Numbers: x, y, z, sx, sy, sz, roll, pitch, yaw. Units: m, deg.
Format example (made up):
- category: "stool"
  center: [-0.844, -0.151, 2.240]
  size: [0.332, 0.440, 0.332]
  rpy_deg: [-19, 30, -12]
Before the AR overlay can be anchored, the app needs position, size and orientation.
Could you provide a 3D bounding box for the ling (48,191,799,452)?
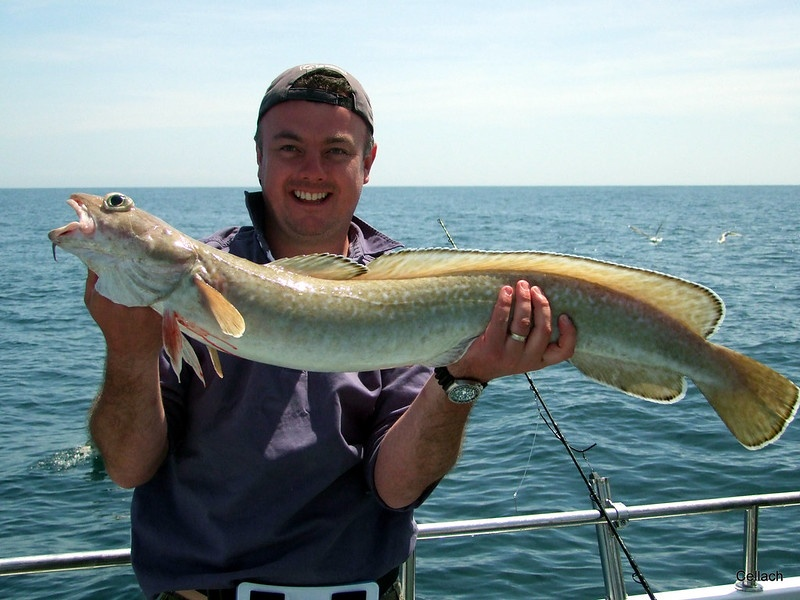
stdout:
- category: "ling"
  center: [0.142, 0.123, 4.812]
  size: [4.011, 1.476, 0.372]
  rpy_deg: [-1, -1, -3]
